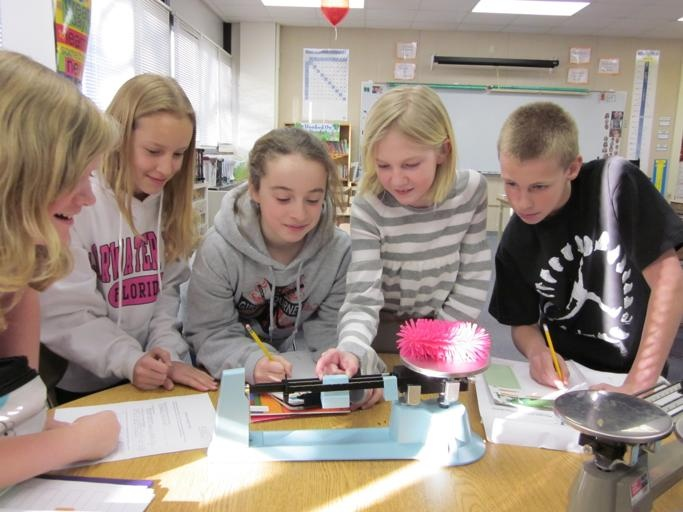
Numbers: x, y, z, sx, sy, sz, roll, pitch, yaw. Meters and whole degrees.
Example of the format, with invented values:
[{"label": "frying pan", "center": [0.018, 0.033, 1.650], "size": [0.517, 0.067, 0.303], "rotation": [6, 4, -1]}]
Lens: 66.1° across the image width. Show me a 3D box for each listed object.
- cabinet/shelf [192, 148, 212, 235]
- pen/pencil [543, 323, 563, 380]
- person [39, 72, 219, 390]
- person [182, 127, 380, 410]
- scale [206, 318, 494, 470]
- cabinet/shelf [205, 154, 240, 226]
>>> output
[{"label": "cabinet/shelf", "center": [-1.373, -0.608, 5.051], "size": [0.180, 0.827, 0.277], "rotation": [-1, 9, -4]}, {"label": "pen/pencil", "center": [0.590, 0.268, 1.468], "size": [0.015, 0.144, 0.015], "rotation": [-17, 1, 20]}, {"label": "person", "center": [-0.624, -0.073, 1.642], "size": [0.562, 0.899, 0.510], "rotation": [5, 2, 31]}, {"label": "person", "center": [-0.187, 0.046, 1.565], "size": [0.492, 0.811, 0.746], "rotation": [-3, 9, -19]}, {"label": "scale", "center": [0.026, 0.278, 1.200], "size": [0.602, 0.256, 0.264], "rotation": [-2, 7, -2]}, {"label": "cabinet/shelf", "center": [-1.270, -0.715, 5.490], "size": [0.241, 0.703, 0.733], "rotation": [11, 10, -19]}]
